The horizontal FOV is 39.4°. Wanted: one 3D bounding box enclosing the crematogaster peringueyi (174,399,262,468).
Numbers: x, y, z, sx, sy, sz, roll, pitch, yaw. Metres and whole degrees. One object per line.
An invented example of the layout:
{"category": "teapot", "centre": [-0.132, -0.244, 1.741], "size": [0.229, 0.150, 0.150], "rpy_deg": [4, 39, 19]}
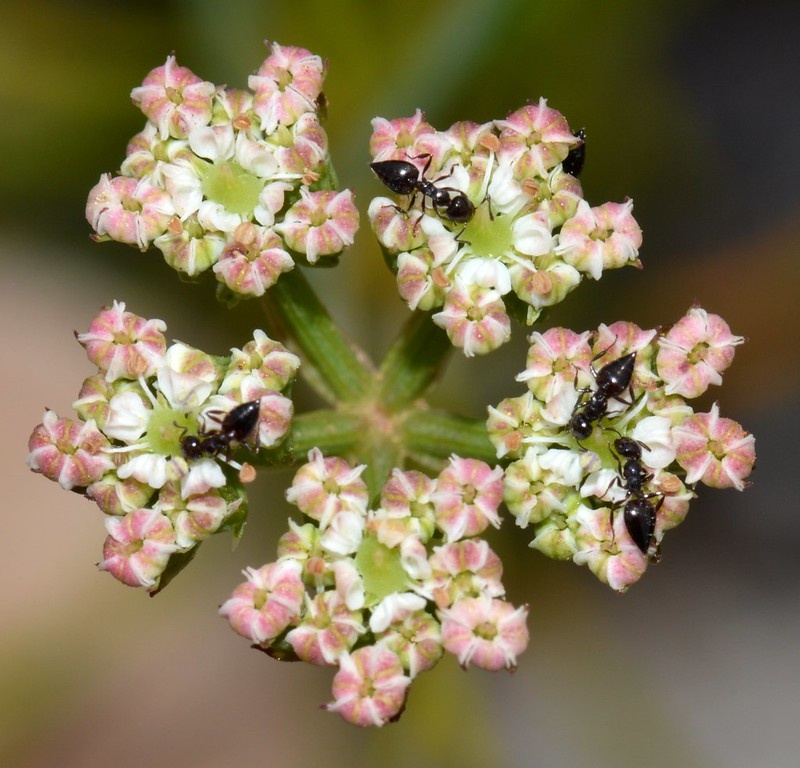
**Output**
{"category": "crematogaster peringueyi", "centre": [-0.486, 0.145, 3.068], "size": [0.241, 0.078, 0.150], "rpy_deg": [-14, -82, 0]}

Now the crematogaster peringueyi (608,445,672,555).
{"category": "crematogaster peringueyi", "centre": [0.671, 0.321, 3.092], "size": [0.180, 0.083, 0.287], "rpy_deg": [-7, -96, 0]}
